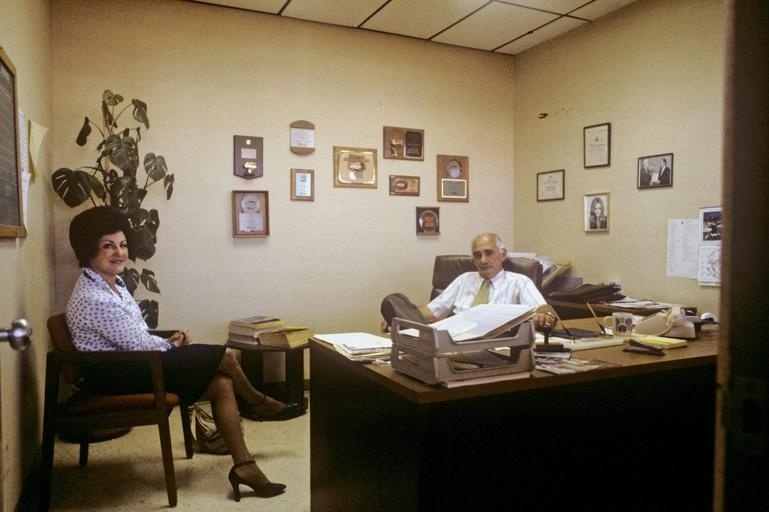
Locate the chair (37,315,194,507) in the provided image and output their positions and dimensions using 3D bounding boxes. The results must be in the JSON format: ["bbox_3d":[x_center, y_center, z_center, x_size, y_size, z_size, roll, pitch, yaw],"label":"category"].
[{"bbox_3d":[-1.529,0.817,3.238,0.753,1.010,0.837,-3,8,-19],"label":"chair"}]

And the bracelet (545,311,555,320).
[{"bbox_3d":[0.902,0.323,3.025,0.057,0.014,0.060,18,0,42],"label":"bracelet"}]

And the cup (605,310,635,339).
[{"bbox_3d":[1.207,0.372,2.902,0.108,0.108,0.162,1,-3,-22],"label":"cup"}]

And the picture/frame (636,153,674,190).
[{"bbox_3d":[2.004,-0.631,4.132,0.033,0.285,0.319,1,0,-30],"label":"picture/frame"}]

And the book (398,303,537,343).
[{"bbox_3d":[0.387,0.262,2.205,0.244,0.068,0.267,-5,9,-36],"label":"book"}]

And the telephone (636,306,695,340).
[{"bbox_3d":[1.405,0.350,2.820,0.305,0.142,0.225,-11,-3,30],"label":"telephone"}]

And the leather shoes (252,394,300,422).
[{"bbox_3d":[-0.759,1.002,3.603,0.438,0.145,0.150,1,2,10],"label":"leather shoes"}]

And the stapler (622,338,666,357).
[{"bbox_3d":[1.147,0.404,2.481,0.071,0.045,0.143,-3,2,-27],"label":"stapler"}]

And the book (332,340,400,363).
[{"bbox_3d":[-0.079,0.420,2.427,0.169,0.037,0.164,0,2,-22],"label":"book"}]
